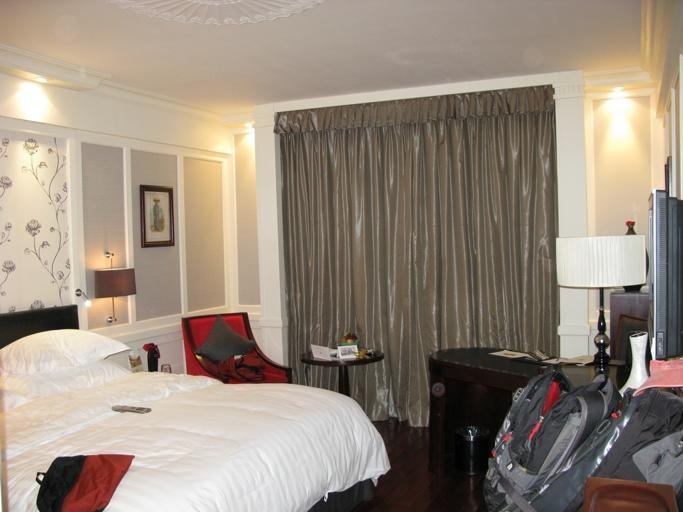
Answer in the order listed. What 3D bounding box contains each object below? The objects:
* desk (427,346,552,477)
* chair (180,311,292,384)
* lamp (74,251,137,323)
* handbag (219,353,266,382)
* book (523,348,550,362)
[{"bbox_3d":[1.120,1.264,4.124,1.078,0.830,0.627,3,-5,15],"label":"desk"},{"bbox_3d":[-1.128,0.957,5.352,0.722,1.149,0.837,2,-8,-29],"label":"chair"},{"bbox_3d":[-2.279,0.301,5.033,0.284,0.734,0.636,2,3,42],"label":"lamp"},{"bbox_3d":[-0.939,1.091,5.085,0.249,0.121,0.267,1,0,10],"label":"handbag"},{"bbox_3d":[1.465,0.755,3.912,0.165,0.044,0.244,5,10,19],"label":"book"}]
